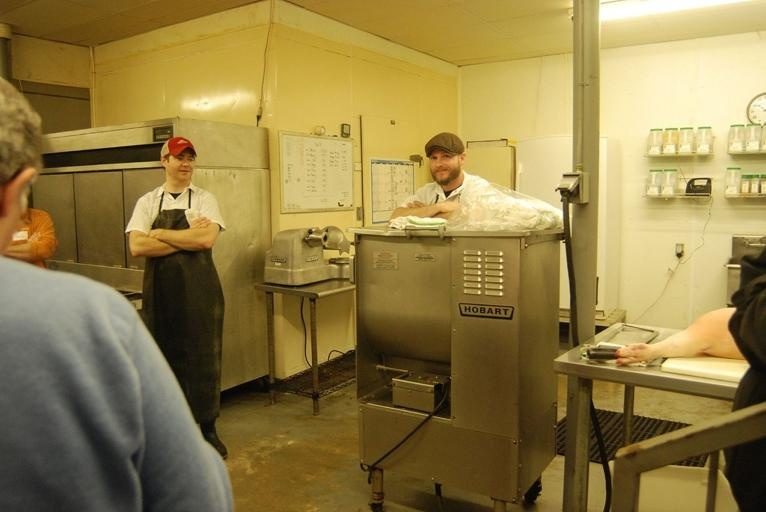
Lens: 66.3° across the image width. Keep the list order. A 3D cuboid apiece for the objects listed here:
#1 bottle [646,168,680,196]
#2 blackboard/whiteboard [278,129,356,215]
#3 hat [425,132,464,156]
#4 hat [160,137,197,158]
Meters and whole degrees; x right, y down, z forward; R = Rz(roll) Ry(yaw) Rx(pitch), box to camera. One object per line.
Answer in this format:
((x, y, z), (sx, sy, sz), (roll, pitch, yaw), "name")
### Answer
((2.721, -0.715, 5.706), (0.286, 0.259, 0.157), (3, 12, 22), "bottle")
((-0.593, -0.713, 4.937), (0.105, 0.549, 0.771), (4, 7, 35), "blackboard/whiteboard")
((0.407, -0.707, 3.657), (0.141, 0.092, 0.201), (0, -7, 38), "hat")
((-1.277, -0.658, 3.632), (0.182, 0.104, 0.137), (-1, 5, 37), "hat")
